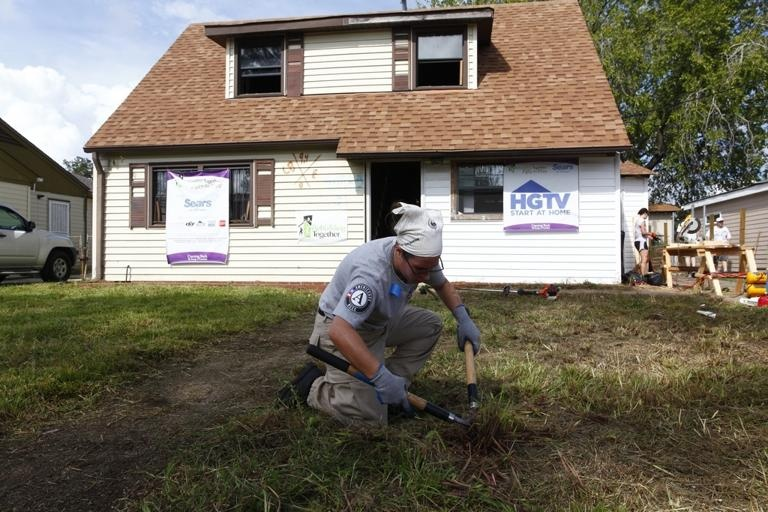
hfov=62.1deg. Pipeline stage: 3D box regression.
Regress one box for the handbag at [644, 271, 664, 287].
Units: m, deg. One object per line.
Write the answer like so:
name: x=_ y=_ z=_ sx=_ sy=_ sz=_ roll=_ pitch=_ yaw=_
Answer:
handbag: x=6.375 y=0.539 z=14.962 sx=0.351 sy=0.343 sz=0.264 roll=-15 pitch=4 yaw=-20

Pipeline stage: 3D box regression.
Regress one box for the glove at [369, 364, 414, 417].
glove: x=0.081 y=1.378 z=6.707 sx=0.424 sy=0.476 sz=0.351 roll=2 pitch=6 yaw=4
